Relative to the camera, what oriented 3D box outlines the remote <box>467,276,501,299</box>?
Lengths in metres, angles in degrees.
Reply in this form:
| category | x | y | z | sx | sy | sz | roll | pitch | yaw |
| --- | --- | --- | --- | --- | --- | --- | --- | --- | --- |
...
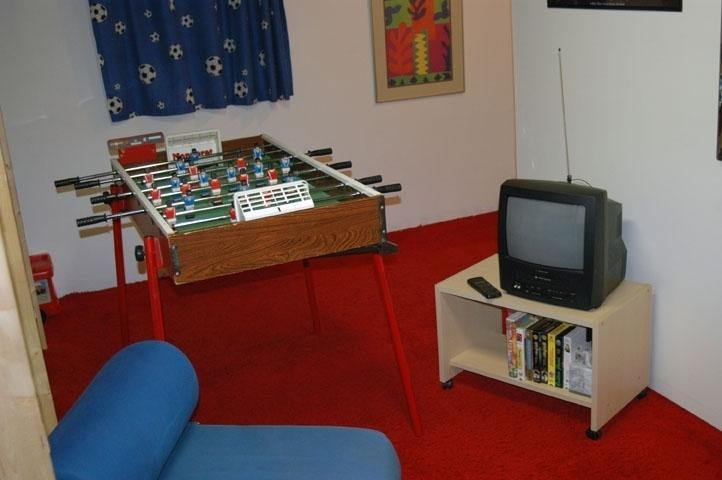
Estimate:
| category | x | y | z | sx | sy | sz | roll | pitch | yaw |
| --- | --- | --- | --- | --- | --- | --- | --- | --- | --- |
| remote | 0.645 | 0.245 | 2.912 | 0.076 | 0.033 | 0.153 | -16 | 35 | -21 |

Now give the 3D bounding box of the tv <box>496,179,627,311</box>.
| category | x | y | z | sx | sy | sz | roll | pitch | yaw |
| --- | --- | --- | --- | --- | --- | --- | --- | --- | --- |
| tv | 0.971 | -0.040 | 2.912 | 0.641 | 0.725 | 0.621 | 14 | 23 | 42 |

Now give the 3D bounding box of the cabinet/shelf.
| category | x | y | z | sx | sy | sz | roll | pitch | yaw |
| --- | --- | --- | --- | --- | --- | --- | --- | --- | --- |
| cabinet/shelf | 0.976 | 0.403 | 2.919 | 1.119 | 0.784 | 0.789 | 14 | 25 | 37 |

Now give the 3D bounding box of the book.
| category | x | y | z | sx | sy | sz | roll | pitch | yaw |
| --- | --- | --- | --- | --- | --- | --- | --- | --- | --- |
| book | 0.946 | 0.575 | 2.800 | 0.557 | 0.346 | 0.415 | 9 | 5 | 41 |
